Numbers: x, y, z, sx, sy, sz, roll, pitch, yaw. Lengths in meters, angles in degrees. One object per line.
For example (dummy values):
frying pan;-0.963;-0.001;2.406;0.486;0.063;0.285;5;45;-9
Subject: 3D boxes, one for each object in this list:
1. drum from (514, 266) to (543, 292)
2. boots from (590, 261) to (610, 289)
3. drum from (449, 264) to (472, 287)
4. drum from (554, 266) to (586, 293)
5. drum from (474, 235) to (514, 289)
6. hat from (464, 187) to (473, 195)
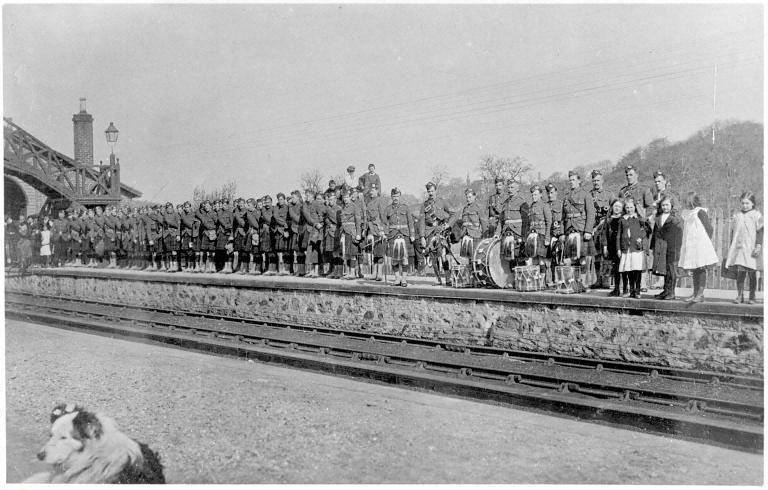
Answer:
drum;3.289;0.736;14.463;0.560;0.546;0.574;-2;-2;32
boots;5.043;0.659;14.774;0.452;0.629;0.404;-4;12;17
drum;1.842;0.718;15.188;0.486;0.513;0.486;-1;0;4
drum;4.109;0.758;14.151;0.566;0.590;0.608;-5;-4;37
drum;2.628;0.406;15.116;1.032;1.019;1.050;-4;3;40
hat;2.089;-1.318;15.543;0.224;0.141;0.399;-6;12;7
